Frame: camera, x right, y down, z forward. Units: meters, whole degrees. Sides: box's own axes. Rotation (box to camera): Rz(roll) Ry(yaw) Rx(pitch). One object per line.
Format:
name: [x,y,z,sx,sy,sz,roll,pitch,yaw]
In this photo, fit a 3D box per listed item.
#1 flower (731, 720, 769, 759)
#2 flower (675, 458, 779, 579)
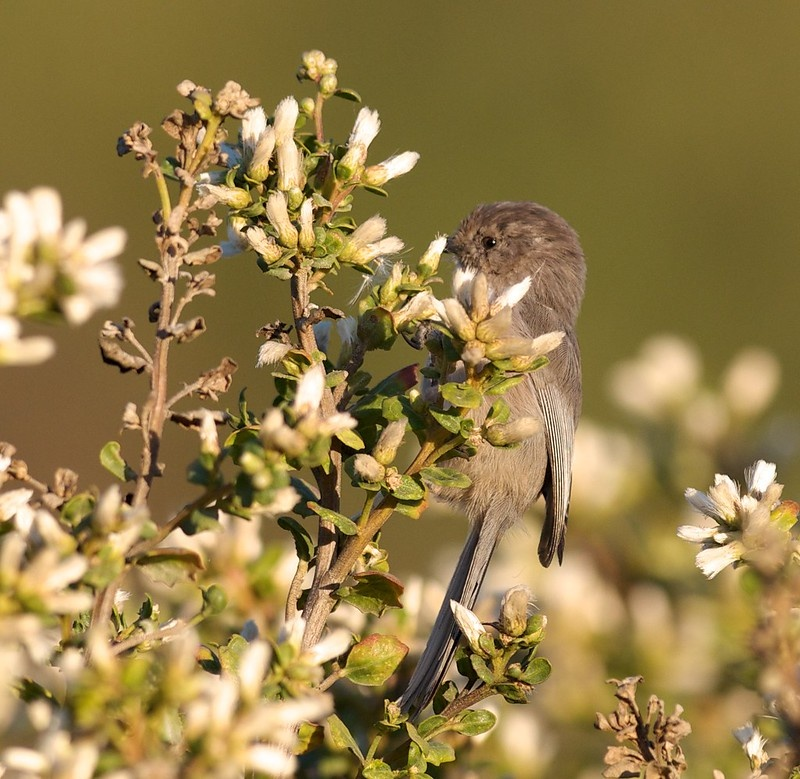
flower: [0.716,0.720,2.808,0.038,0.122,0.037,21,-85,0]
flower: [0.689,0.251,2.749,0.214,0.227,0.122,-1,-82,-9]
